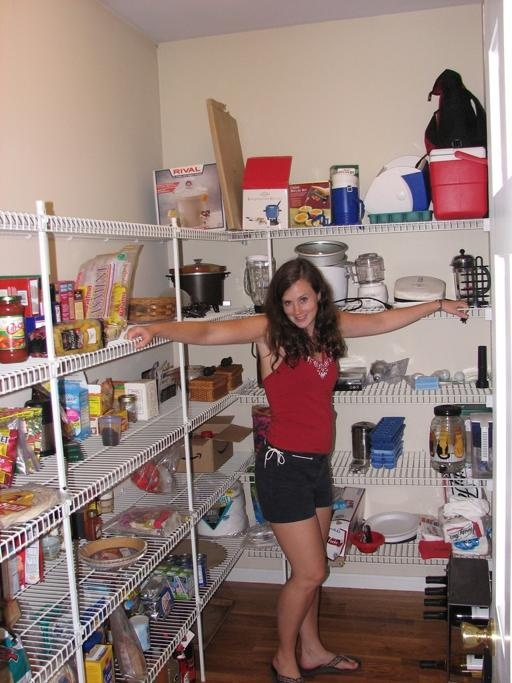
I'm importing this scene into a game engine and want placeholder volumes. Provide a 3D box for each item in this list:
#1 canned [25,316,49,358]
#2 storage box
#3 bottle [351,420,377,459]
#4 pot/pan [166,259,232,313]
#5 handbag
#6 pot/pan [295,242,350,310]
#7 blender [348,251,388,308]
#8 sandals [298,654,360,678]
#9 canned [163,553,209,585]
[{"bbox_3d":[-0.541,-0.014,1.393,0.041,0.089,0.110,-4,2,-22],"label":"canned"},{"bbox_3d":[0.780,-0.612,2.176,0.241,0.284,0.277,3,18,23],"label":"storage box"},{"bbox_3d":[0.499,0.458,2.691,0.147,0.224,0.148,0,7,0],"label":"bottle"},{"bbox_3d":[-0.236,-0.235,2.412,0.301,0.244,0.237,-1,6,-3],"label":"pot/pan"},{"bbox_3d":[0.796,-0.915,2.276,0.212,0.358,0.260,-3,2,10],"label":"handbag"},{"bbox_3d":[0.296,-0.273,2.329,0.266,0.259,0.229,1,19,22],"label":"pot/pan"},{"bbox_3d":[0.499,-0.257,2.502,0.162,0.209,0.134,-3,12,20],"label":"blender"},{"bbox_3d":[0.279,1.232,2.156,0.221,0.058,0.087,-4,5,-3],"label":"sandals"},{"bbox_3d":[-0.281,0.901,2.305,0.119,0.045,0.153,-1,7,3],"label":"canned"}]
